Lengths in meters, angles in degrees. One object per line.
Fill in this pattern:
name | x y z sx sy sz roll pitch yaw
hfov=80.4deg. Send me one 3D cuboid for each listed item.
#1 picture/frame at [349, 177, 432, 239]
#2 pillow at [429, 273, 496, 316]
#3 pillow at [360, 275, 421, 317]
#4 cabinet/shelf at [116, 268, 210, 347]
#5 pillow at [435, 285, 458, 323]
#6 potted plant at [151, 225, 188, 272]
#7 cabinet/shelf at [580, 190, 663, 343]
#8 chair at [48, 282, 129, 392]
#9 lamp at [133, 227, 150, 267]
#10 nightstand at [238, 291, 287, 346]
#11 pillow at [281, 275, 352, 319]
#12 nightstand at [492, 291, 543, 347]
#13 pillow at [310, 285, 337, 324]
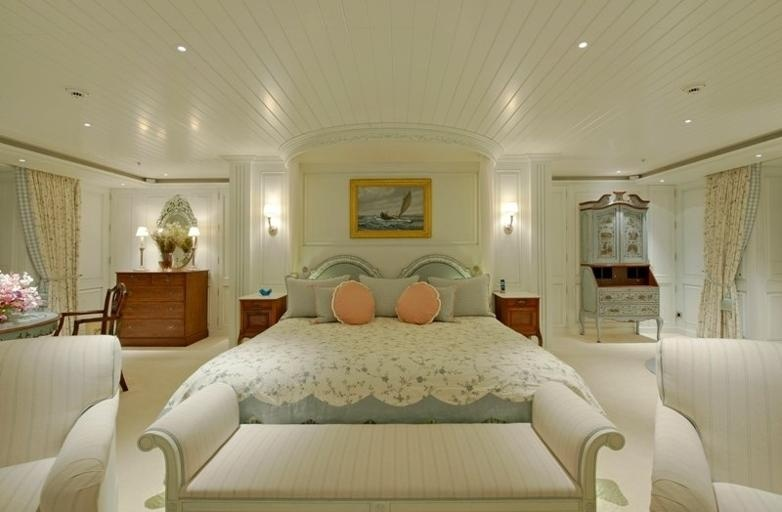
picture/frame | 0.001 -0.684 6.774 0.868 0.636 0.041 0 2 1
pillow | 0.911 0.521 5.957 0.712 0.536 0.270 -3 0 10
pillow | -0.038 0.456 6.058 0.620 0.198 0.692 -2 23 -1
cabinet/shelf | -3.756 0.860 7.728 1.153 1.152 0.852 0 1 4
pillow | 0.665 0.590 5.611 0.335 0.348 0.137 -2 -11 32
potted plant | -3.600 -0.127 7.928 0.691 0.803 0.725 5 2 26
cabinet/shelf | 3.779 0.148 7.674 1.092 2.447 0.703 1 0 2
chair | -3.685 0.997 5.611 0.949 1.203 0.941 1 3 -13
lamp | -4.214 -0.155 7.882 0.185 0.714 0.416 0 -1 -29
nightstand | -1.820 0.791 6.455 0.483 0.752 0.683 2 20 -10
pillow | -1.002 0.528 5.990 0.823 0.561 0.247 6 -1 -37
nightstand | 1.757 0.929 6.490 0.631 0.766 0.729 1 -1 17
pillow | -0.815 0.611 5.594 0.390 0.410 0.138 0 -30 -6
